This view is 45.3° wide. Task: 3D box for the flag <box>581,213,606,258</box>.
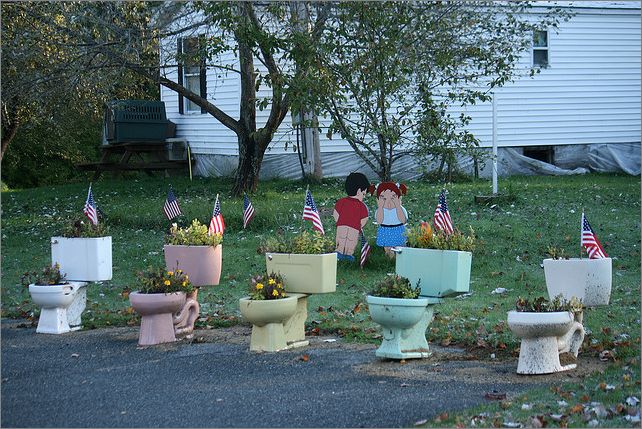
[{"bbox_3d":[5.019,0.371,14.142,0.412,0.846,0.973,-1,2,20],"label":"flag"}]
